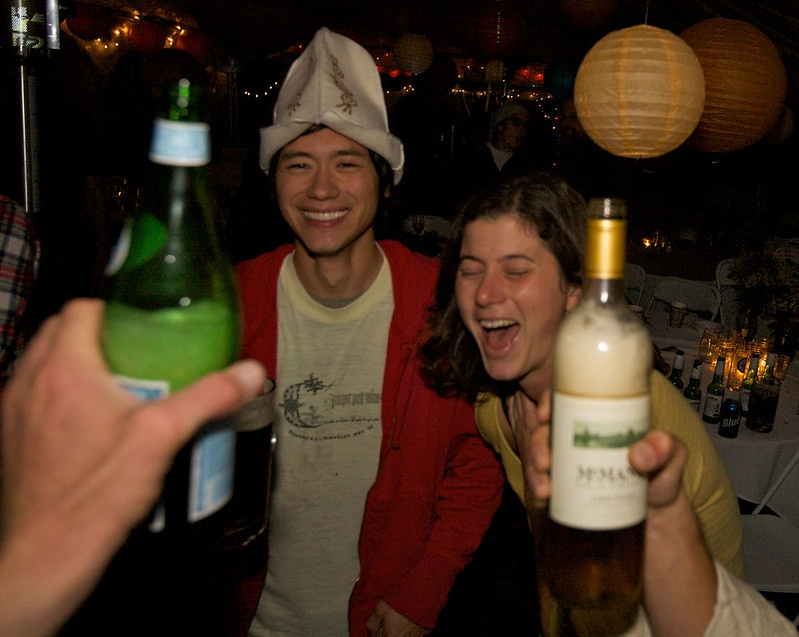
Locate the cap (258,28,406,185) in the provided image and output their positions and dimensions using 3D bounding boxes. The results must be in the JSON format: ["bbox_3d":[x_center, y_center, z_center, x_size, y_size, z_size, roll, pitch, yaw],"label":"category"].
[{"bbox_3d":[-0.294,-0.887,2.632,0.586,0.515,0.628,0,13,0],"label":"cap"}]

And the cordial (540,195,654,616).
[{"bbox_3d":[0.437,0.258,1.393,0.222,1.003,0.350,5,9,16],"label":"cordial"}]

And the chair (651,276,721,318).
[{"bbox_3d":[2.664,-0.218,6.091,0.549,0.467,0.446,11,-1,18],"label":"chair"}]

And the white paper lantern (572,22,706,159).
[{"bbox_3d":[1.451,-1.428,4.247,0.904,0.902,0.815,-2,16,0],"label":"white paper lantern"}]
